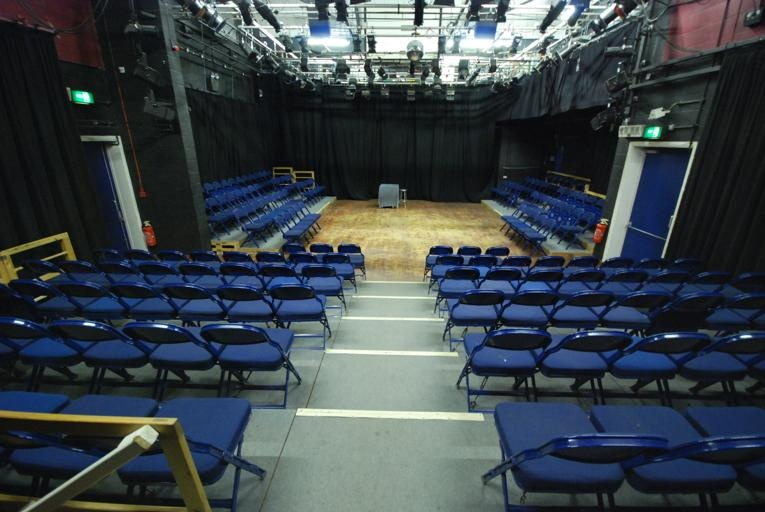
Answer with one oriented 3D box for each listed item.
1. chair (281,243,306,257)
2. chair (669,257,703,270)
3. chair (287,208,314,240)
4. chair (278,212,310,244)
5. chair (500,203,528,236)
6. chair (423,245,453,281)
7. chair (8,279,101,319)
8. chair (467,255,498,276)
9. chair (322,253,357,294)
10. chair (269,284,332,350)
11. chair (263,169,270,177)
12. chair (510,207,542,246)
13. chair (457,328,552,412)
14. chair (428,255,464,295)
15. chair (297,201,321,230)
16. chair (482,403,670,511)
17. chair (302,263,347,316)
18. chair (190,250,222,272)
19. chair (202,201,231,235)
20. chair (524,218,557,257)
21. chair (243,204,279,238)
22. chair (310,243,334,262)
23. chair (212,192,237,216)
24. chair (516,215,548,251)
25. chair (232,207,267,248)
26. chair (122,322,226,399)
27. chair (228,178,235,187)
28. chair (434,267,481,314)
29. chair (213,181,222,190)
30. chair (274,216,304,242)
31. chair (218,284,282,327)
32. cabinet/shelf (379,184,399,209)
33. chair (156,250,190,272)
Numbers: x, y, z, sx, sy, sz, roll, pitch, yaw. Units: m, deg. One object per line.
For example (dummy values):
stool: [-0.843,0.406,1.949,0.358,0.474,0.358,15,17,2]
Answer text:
chair: [-1.646,-0.087,8.981,0.338,0.353,0.294,2,34,1]
chair: [4.849,0.123,7.917,0.309,0.108,0.351,4,11,23]
chair: [-2.049,-0.788,12.106,0.405,0.390,1.075,9,24,6]
chair: [-2.135,-0.662,11.723,0.398,0.390,1.015,5,23,3]
chair: [3.548,-0.987,13.430,0.573,0.718,1.261,-2,16,-3]
chair: [0.986,0.080,9.264,0.646,0.820,0.667,-1,33,0]
chair: [-4.754,0.635,7.152,1.001,0.742,0.658,-8,18,-20]
chair: [1.706,0.112,8.527,0.416,0.528,0.406,1,46,5]
chair: [-0.723,0.268,8.594,0.603,0.781,0.644,3,40,2]
chair: [-1.226,0.884,7.169,0.851,1.076,0.856,1,37,-1]
chair: [-4.002,-2.839,17.014,0.313,0.195,1.027,-6,15,-13]
chair: [3.583,-0.731,12.336,0.485,0.501,1.263,-21,29,10]
chair: [1.547,1.384,6.517,0.950,1.137,1.011,6,11,-8]
chair: [1.054,0.291,8.538,0.613,0.837,0.635,1,41,-2]
chair: [-2.037,-1.105,13.413,0.496,0.638,1.154,18,27,-4]
chair: [2.117,2.092,5.846,1.297,1.198,1.439,-1,22,3]
chair: [-0.915,0.461,8.082,0.669,0.765,0.707,-2,15,15]
chair: [-3.110,0.026,8.734,0.480,0.639,0.488,2,47,-14]
chair: [-3.963,-0.891,11.684,0.435,0.463,1.000,9,18,-1]
chair: [3.681,-0.424,11.557,0.417,0.330,1.115,0,16,5]
chair: [-3.018,-0.850,12.069,0.492,0.230,1.184,3,22,0]
chair: [-1.170,-0.067,9.266,0.390,0.550,0.399,2,55,-3]
chair: [-4.094,-1.394,12.809,0.592,0.731,0.530,-11,60,-25]
chair: [3.587,-0.544,11.859,0.402,0.327,1.083,-13,20,1]
chair: [-3.213,-0.668,11.763,0.463,0.539,1.088,9,21,-2]
chair: [-2.507,1.327,6.556,1.022,1.168,1.197,-4,10,7]
chair: [-4.365,-2.143,14.240,0.198,0.190,0.227,-1,9,-12]
chair: [1.184,0.491,7.800,0.687,0.869,0.697,1,38,0]
chair: [-4.501,-1.943,13.444,0.227,0.240,0.243,-9,16,-43]
chair: [-2.248,-0.640,11.645,0.328,0.302,0.778,-2,22,1]
chair: [-1.967,0.642,7.193,0.834,0.617,0.467,-2,17,0]
cabinet/shelf: [0.238,-2.009,16.600,0.851,0.677,0.951,-1,30,4]
chair: [-3.562,0.087,8.337,0.306,0.390,0.318,2,41,-10]
